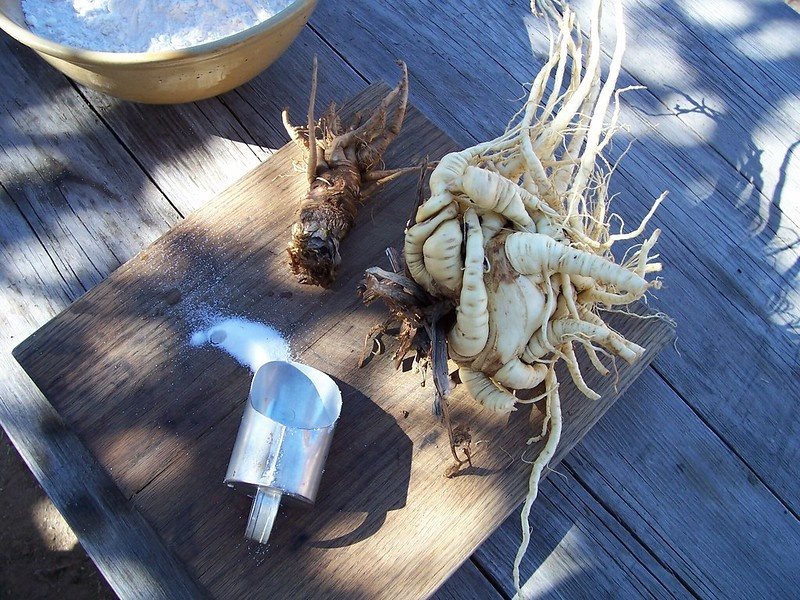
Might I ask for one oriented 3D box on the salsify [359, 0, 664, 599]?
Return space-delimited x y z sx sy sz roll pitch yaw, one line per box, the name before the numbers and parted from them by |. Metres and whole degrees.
salsify | 0.322 -0.104 1.734 0.619 0.531 1.035 34 79 1
